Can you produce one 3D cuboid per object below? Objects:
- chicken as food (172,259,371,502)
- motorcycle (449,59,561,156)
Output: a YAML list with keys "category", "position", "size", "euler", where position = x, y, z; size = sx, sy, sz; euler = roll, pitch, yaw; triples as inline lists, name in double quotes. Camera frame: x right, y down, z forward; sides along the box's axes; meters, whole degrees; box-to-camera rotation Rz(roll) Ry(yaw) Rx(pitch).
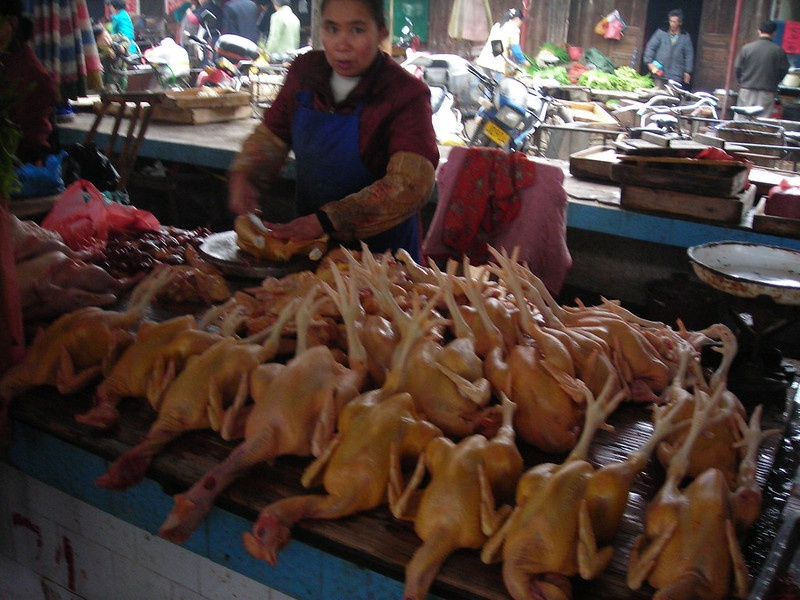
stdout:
- category: "chicken as food"
  position: [-0.371, 0.265, 1.517]
  size: [0.428, 0.577, 0.485]
  euler: [-18, 26, -35]
- category: "motorcycle"
  position: [1.013, -1.831, 5.517]
  size: [0.803, 0.837, 1.282]
  euler: [30, 22, -1]
